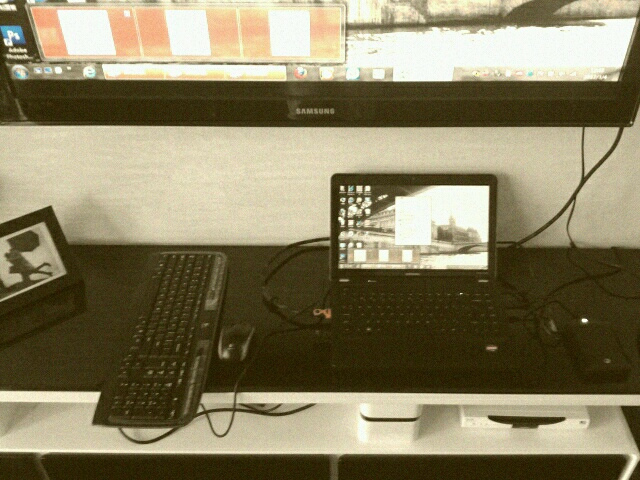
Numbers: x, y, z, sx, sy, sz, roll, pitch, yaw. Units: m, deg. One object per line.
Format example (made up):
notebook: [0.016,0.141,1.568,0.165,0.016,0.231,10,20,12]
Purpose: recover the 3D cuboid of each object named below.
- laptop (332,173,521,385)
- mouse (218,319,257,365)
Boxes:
laptop: [0.218,0.122,1.369,0.506,0.318,0.472,0,34,1]
mouse: [-0.187,0.225,1.260,0.077,0.035,0.108,3,39,2]
